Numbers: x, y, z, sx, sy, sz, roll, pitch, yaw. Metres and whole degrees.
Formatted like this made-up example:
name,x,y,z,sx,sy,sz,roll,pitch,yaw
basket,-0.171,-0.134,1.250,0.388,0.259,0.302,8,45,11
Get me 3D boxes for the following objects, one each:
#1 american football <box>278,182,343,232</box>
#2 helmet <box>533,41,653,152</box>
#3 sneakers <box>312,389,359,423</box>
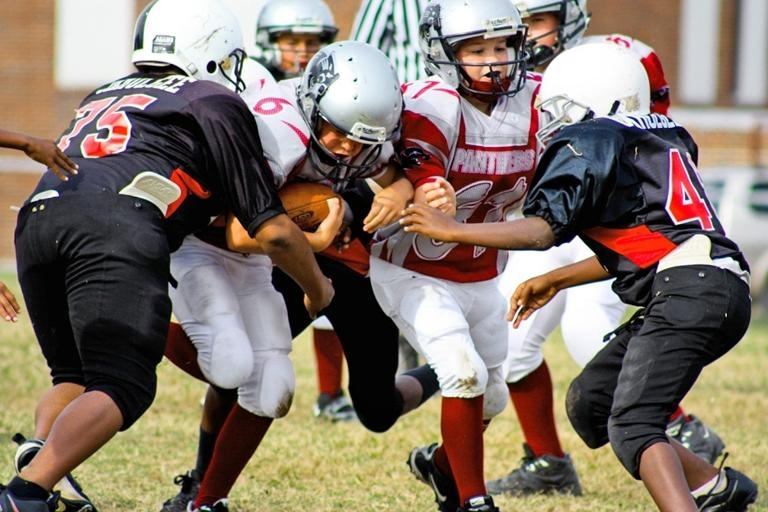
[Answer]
name,x,y,z,sx,sy,sz,roll,pitch,yaw
american football,-0.351,-0.244,4.903,0.260,0.235,0.198,-17,45,4
helmet,1.057,-0.786,5.004,0.533,0.466,0.426,-9,8,13
sneakers,-0.307,1.012,6.814,0.322,0.145,0.131,-1,-1,41
